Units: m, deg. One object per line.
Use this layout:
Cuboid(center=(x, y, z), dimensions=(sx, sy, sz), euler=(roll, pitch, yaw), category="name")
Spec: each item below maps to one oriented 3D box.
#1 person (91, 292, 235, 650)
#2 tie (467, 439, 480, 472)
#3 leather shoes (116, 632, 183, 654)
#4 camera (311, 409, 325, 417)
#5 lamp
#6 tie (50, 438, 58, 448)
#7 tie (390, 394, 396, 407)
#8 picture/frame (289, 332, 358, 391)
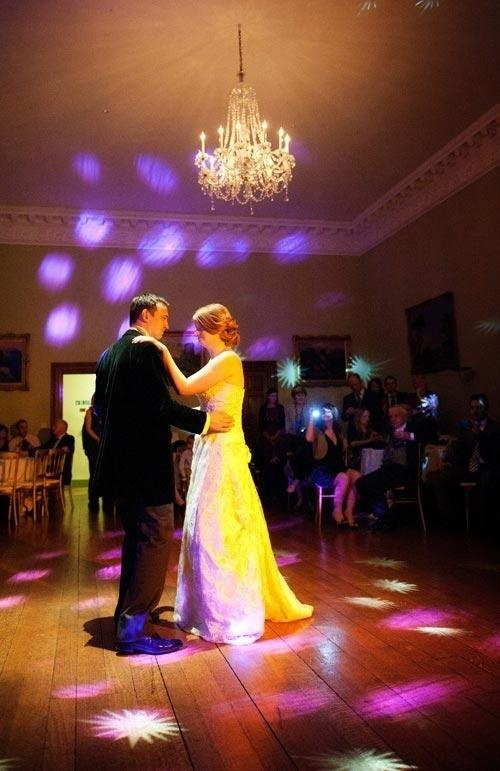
Cuboid(center=(-0.389, 0.351, 2.414), dimensions=(0.527, 1.506, 0.384), euler=(-1, -5, -11), category="person")
Cuboid(center=(2.066, 0.675, 5.344), dimensions=(0.098, 0.268, 0.255), euler=(-4, -5, 18), category="tie")
Cuboid(center=(-0.409, 1.068, 2.429), dimensions=(0.273, 0.110, 0.099), euler=(-1, -21, 1), category="leather shoes")
Cuboid(center=(0.683, 0.282, 5.842), dimensions=(0.082, 0.026, 0.080), euler=(-10, -14, -16), category="camera")
Cuboid(center=(-0.052, -2.932, 5.803), dimensions=(0.842, 1.827, 0.820), euler=(-3, 4, 15), category="lamp")
Cuboid(center=(-2.910, 0.853, 8.585), dimensions=(0.112, 0.147, 0.035), euler=(8, -7, 21), category="tie")
Cuboid(center=(2.007, 0.207, 8.145), dimensions=(0.084, 0.150, 0.037), euler=(-7, -24, 44), category="tie")
Cuboid(center=(1.206, -0.402, 9.978), dimensions=(1.053, 0.903, 0.101), euler=(-2, 0, -15), category="picture/frame")
